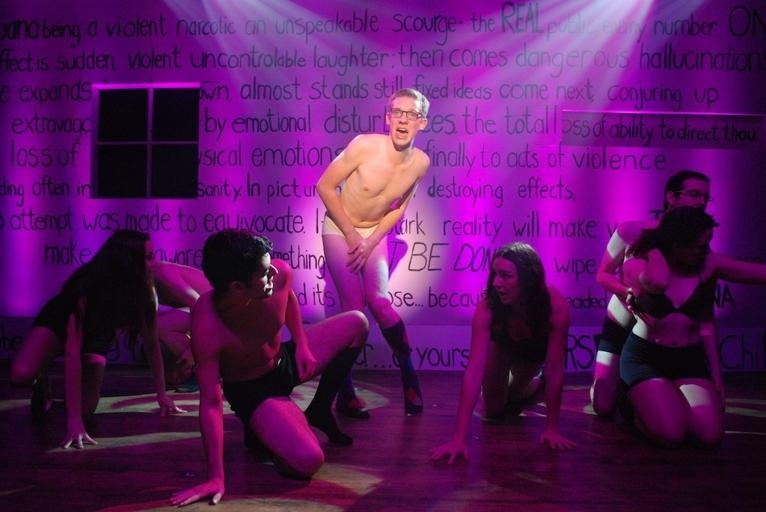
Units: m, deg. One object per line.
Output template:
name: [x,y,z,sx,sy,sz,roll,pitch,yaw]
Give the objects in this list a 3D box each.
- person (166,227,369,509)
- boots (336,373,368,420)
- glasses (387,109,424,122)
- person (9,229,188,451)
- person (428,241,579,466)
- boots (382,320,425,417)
person: [-0.757,0.810,5.704,0.583,1.229,1.177,10,32,19]
boots: [-0.222,1.029,6.245,0.267,0.309,0.119,19,12,31]
glasses: [0.164,-1.039,6.364,0.243,0.063,0.058,2,-1,-4]
person: [-1.897,0.542,6.008,1.111,1.443,1.005,8,6,-28]
person: [0.892,0.506,6.139,0.792,1.458,1.816,-1,18,14]
boots: [0.159,0.824,6.397,0.362,0.527,0.247,0,-1,38]
